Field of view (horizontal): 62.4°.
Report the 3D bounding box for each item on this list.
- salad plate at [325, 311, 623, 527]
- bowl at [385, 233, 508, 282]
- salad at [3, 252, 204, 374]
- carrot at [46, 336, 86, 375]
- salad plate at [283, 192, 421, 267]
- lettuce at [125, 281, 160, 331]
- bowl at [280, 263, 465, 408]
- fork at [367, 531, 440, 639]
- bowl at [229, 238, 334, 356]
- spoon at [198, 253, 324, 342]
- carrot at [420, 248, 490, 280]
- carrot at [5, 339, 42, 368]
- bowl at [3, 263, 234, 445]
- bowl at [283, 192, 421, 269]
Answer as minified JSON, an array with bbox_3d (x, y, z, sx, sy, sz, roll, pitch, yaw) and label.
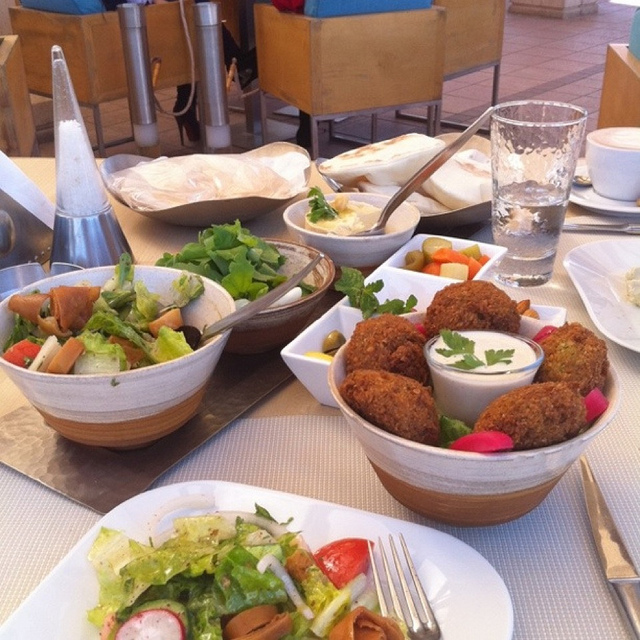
[{"bbox_3d":[0.101,0.068,0.432,0.207,0.121,0.155,-6,22,-23],"label":"salad plate"},{"bbox_3d":[0.174,-0.086,0.709,0.128,0.039,0.099,16,36,26],"label":"bowl"},{"bbox_3d":[-0.218,-0.043,0.533,0.213,0.091,0.162,-18,33,-40],"label":"salad"},{"bbox_3d":[-0.213,0.030,0.443,0.010,0.027,0.020,35,40,1],"label":"carrot"},{"bbox_3d":[0.058,-0.163,0.863,0.252,0.110,0.204,-2,21,-1],"label":"salad plate"},{"bbox_3d":[-0.184,-0.013,0.539,0.036,0.018,0.046,23,70,-15],"label":"lettuce"},{"bbox_3d":[0.058,-0.001,0.583,0.139,0.060,0.215,21,40,30],"label":"bowl"},{"bbox_3d":[0.052,0.154,0.310,0.018,0.006,0.055,-5,35,-18],"label":"fork"},{"bbox_3d":[-0.052,-0.054,0.636,0.150,0.057,0.139,-2,33,1],"label":"bowl"},{"bbox_3d":[-0.068,-0.023,0.578,0.022,0.019,0.160,46,55,1],"label":"spoon"},{"bbox_3d":[0.178,-0.078,0.692,0.059,0.013,0.059,17,42,23],"label":"carrot"},{"bbox_3d":[-0.265,0.029,0.469,0.024,0.007,0.026,16,38,2],"label":"carrot"},{"bbox_3d":[-0.191,0.055,0.536,0.203,0.099,0.191,1,24,0],"label":"bowl"},{"bbox_3d":[0.039,-0.164,0.858,0.247,0.110,0.200,-2,21,-1],"label":"bowl"}]
